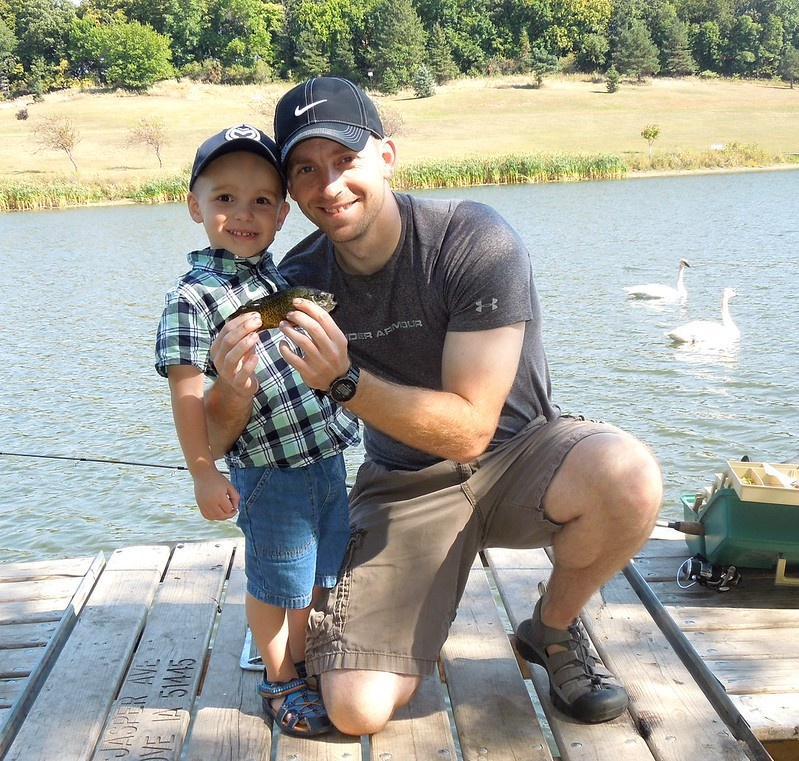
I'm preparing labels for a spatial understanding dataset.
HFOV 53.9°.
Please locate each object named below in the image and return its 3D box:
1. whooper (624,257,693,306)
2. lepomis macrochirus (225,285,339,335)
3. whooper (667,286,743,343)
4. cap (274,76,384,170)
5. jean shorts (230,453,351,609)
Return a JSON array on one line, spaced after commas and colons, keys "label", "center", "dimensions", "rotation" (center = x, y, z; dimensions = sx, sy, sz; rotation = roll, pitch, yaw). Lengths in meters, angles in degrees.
[{"label": "whooper", "center": [4.945, -1.753, 14.791], "dimensions": [1.377, 0.962, 1.251], "rotation": [0, 20, 1]}, {"label": "lepomis macrochirus", "center": [-0.370, -0.262, 2.687], "dimensions": [0.391, 0.163, 0.270], "rotation": [-4, 13, -34]}, {"label": "whooper", "center": [4.924, -1.056, 12.698], "dimensions": [1.272, 0.876, 1.310], "rotation": [9, 23, 26]}, {"label": "cap", "center": [-0.267, -0.987, 3.007], "dimensions": [0.348, 0.229, 0.425], "rotation": [-6, 8, 10]}, {"label": "jean shorts", "center": [-0.380, 0.568, 2.930], "dimensions": [0.405, 0.534, 0.369], "rotation": [-5, 17, -10]}]
